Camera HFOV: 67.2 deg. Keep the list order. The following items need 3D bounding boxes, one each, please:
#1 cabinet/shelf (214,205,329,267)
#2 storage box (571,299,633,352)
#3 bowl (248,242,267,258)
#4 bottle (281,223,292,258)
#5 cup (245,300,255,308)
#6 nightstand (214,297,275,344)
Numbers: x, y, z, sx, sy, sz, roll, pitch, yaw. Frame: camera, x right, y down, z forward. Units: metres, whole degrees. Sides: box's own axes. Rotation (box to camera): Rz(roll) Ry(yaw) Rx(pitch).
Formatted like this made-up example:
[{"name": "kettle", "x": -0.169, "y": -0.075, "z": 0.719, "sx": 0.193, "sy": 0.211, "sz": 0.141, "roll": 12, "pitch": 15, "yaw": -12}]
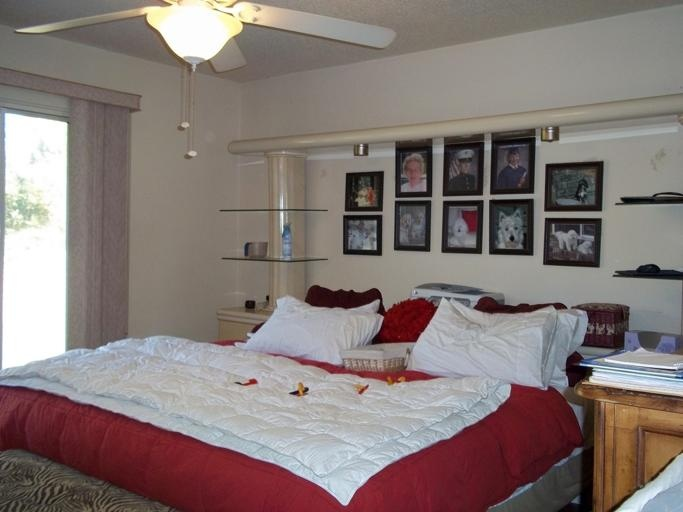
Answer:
[{"name": "cabinet/shelf", "x": -0.630, "y": -0.171, "z": 4.603, "sx": 0.913, "sy": 0.530, "sz": 0.585, "roll": 5, "pitch": 11, "yaw": 37}, {"name": "storage box", "x": 1.571, "y": 0.394, "z": 3.085, "sx": 0.296, "sy": 0.259, "sz": 0.301, "roll": 1, "pitch": -2, "yaw": 35}, {"name": "bowl", "x": -0.728, "y": -0.067, "z": 4.492, "sx": 0.151, "sy": 0.105, "sz": 0.111, "roll": 0, "pitch": -1, "yaw": 9}, {"name": "bottle", "x": -0.469, "y": -0.135, "z": 4.355, "sx": 0.080, "sy": 0.264, "sz": 0.074, "roll": -1, "pitch": 9, "yaw": 0}, {"name": "cup", "x": -0.842, "y": 0.434, "z": 4.710, "sx": 0.074, "sy": 0.058, "sz": 0.069, "roll": 0, "pitch": -9, "yaw": 0}, {"name": "nightstand", "x": -0.868, "y": 0.587, "z": 4.529, "sx": 0.338, "sy": 0.389, "sz": 0.586, "roll": 0, "pitch": 1, "yaw": -44}]
